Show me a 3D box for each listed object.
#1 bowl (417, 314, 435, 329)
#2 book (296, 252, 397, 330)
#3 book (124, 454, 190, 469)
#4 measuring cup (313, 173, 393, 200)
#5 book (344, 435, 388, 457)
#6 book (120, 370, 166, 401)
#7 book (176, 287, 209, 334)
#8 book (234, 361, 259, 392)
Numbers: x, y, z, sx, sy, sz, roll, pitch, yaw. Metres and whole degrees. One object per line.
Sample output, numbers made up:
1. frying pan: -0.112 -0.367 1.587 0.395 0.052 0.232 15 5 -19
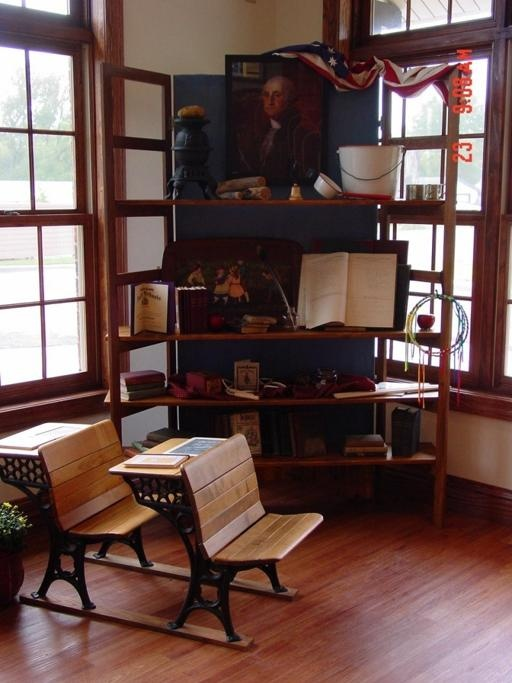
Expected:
1. bowl: 0.902 -0.110 3.156 0.080 0.073 0.079 2 3 0
2. book: 0.505 -0.279 3.025 0.568 0.387 0.118 2 -5 7
3. book: -0.369 0.438 2.172 0.223 0.023 0.150 1 3 3
4. measuring cup: 0.476 -0.762 2.965 0.456 0.138 0.149 8 11 23
5. book: 0.607 0.580 3.316 0.143 0.065 0.144 0 3 4
6. book: -0.592 0.227 3.088 0.144 0.088 0.193 6 9 39
7. book: -0.308 -0.164 2.962 0.080 0.221 0.171 -3 6 -41
8. book: -0.054 0.196 3.291 0.174 0.193 0.033 -1 5 -7
